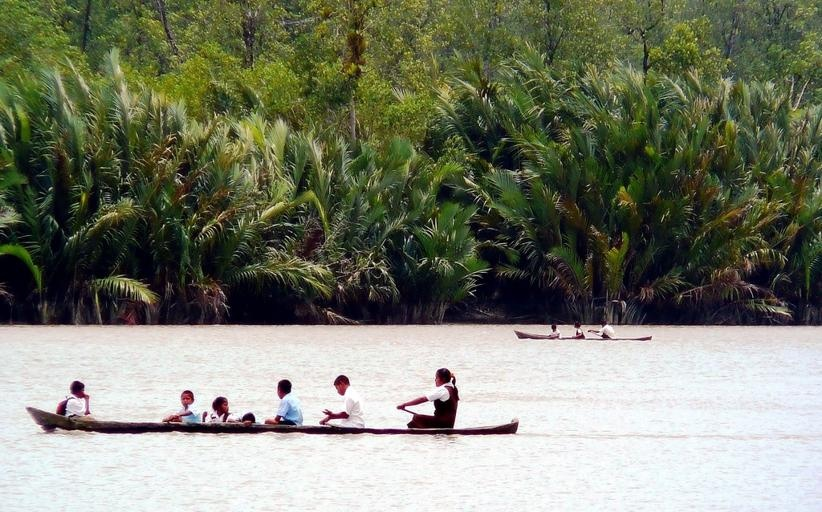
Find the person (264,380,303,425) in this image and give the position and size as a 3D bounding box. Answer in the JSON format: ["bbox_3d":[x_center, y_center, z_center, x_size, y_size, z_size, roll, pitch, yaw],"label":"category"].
[{"bbox_3d":[-3.505,3.982,34.376,0.821,1.237,0.868,9,15,38],"label":"person"}]

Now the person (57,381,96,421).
[{"bbox_3d":[-9.039,3.904,34.093,0.562,1.304,0.556,-8,21,-34],"label":"person"}]

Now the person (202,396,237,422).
[{"bbox_3d":[-5.166,4.032,34.047,0.743,0.797,0.620,0,4,-2],"label":"person"}]
